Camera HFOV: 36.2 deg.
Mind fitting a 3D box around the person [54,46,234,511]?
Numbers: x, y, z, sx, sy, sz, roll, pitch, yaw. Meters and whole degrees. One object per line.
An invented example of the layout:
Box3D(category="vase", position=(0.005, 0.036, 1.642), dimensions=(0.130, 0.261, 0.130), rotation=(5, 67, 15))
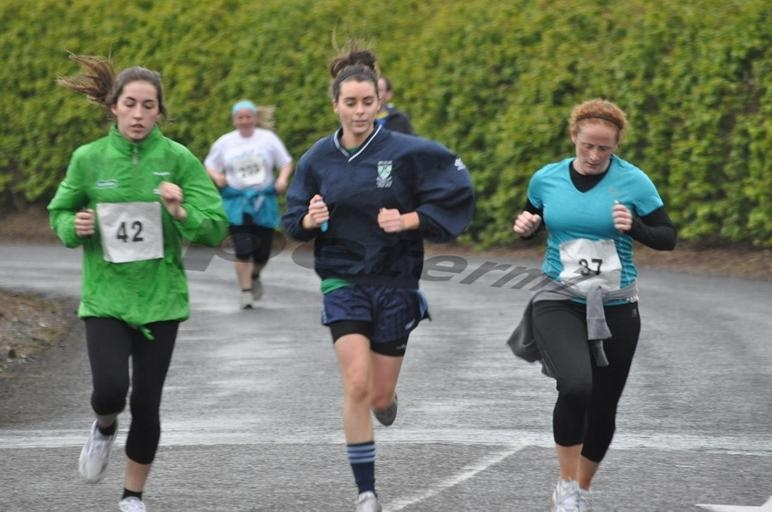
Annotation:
Box3D(category="person", position=(-1.760, 0.205, 8.340), dimensions=(1.024, 3.118, 1.223), rotation=(-6, 16, -28))

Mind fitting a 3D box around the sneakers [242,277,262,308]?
Box3D(category="sneakers", position=(-1.573, 0.448, 13.817), dimensions=(0.174, 0.169, 0.440), rotation=(-1, 9, 1))
